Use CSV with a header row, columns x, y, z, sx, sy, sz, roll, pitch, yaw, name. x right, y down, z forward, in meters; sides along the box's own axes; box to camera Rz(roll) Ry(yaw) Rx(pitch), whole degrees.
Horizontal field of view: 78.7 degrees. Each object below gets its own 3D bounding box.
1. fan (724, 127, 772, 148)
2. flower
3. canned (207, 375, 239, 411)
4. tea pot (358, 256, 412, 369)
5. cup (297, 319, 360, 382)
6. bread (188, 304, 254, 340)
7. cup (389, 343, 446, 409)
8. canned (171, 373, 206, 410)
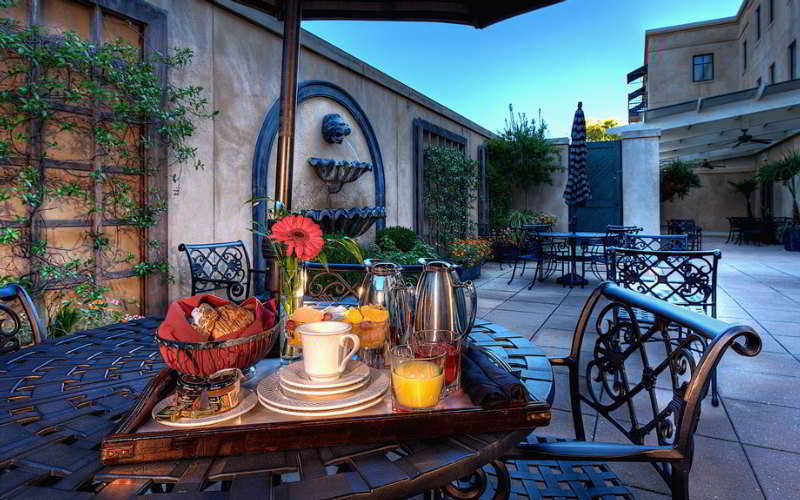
x,y,z,sx,sy,sz,roll,pitch,yaw,name
10.069,-3.290,14.175,0.722,0.268,0.672,-4,0,-43,fan
-0.523,-0.100,2.275,0.236,0.297,0.385,-4,6,-33,flower
-0.677,0.550,1.906,0.124,0.119,0.124,0,-3,-2,canned
-0.073,0.266,2.228,0.196,0.504,0.191,1,1,0,tea pot
-0.295,0.404,1.964,0.215,0.276,0.173,0,-1,-3,cup
-0.725,0.285,1.998,0.180,0.077,0.163,12,43,-8,bread
0.075,0.507,1.998,0.216,0.236,0.161,1,4,7,cup
-0.811,0.543,1.906,0.111,0.165,0.121,-6,-8,37,canned
